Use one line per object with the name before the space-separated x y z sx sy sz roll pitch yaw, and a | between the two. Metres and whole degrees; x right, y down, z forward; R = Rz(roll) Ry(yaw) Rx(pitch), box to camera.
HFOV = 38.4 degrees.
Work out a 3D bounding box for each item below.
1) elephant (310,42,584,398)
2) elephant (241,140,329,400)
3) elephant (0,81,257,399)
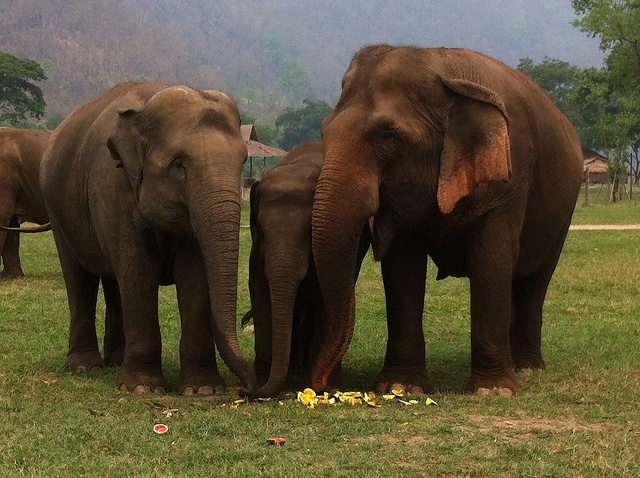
elephant | 1.267 -0.121 8.767 1.776 3.172 3.746 0 0 41
elephant | -0.300 0.195 8.173 0.673 2.111 1.361 0 0 -4
elephant | -1.611 -0.008 8.687 1.472 2.900 3.241 1 -1 -37
